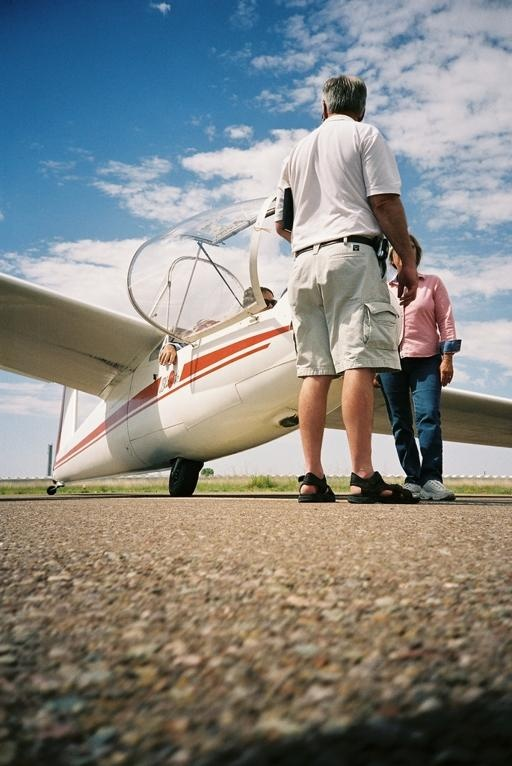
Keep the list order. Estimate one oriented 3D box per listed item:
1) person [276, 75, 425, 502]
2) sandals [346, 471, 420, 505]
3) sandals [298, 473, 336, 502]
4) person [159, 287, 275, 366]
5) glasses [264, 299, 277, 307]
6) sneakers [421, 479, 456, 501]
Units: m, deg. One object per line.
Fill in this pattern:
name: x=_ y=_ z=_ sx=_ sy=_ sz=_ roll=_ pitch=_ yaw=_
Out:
person: x=0.316 y=-0.308 z=2.116 sx=0.522 sy=1.485 sz=0.339 roll=-2 pitch=-9 yaw=16
sandals: x=0.453 y=0.367 z=1.978 sx=0.291 sy=0.111 sz=0.097 roll=4 pitch=-9 yaw=-29
sandals: x=0.219 y=0.384 z=2.096 sx=0.132 sy=0.107 sz=0.202 roll=-1 pitch=-7 yaw=5
person: x=-0.314 y=-0.392 z=3.991 sx=0.141 sy=0.418 sz=1.341 roll=6 pitch=-9 yaw=-35
glasses: x=0.082 y=-0.490 z=3.497 sx=0.079 sy=0.047 sz=0.019 roll=2 pitch=-4 yaw=-10
sneakers: x=0.916 y=0.540 z=2.821 sx=0.078 sy=0.082 sz=0.192 roll=1 pitch=-9 yaw=-23
